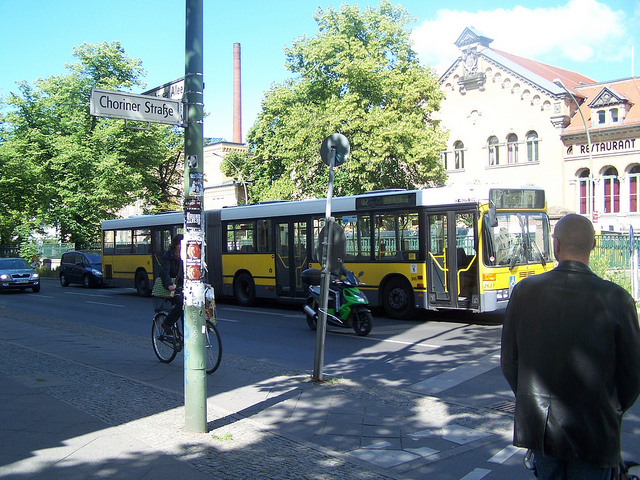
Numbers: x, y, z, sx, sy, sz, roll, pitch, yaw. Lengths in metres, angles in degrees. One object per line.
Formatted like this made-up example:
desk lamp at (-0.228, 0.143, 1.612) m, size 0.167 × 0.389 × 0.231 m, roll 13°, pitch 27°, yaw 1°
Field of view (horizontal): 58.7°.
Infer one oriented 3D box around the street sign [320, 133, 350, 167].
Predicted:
street sign at (0.253, -1.478, 9.454) m, size 0.500 × 0.532 × 0.108 m, roll 10°, pitch 10°, yaw 10°

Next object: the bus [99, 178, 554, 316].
bus at (-0.336, 0.415, 19.784) m, size 14.899 × 3.744 × 3.414 m, roll -2°, pitch 4°, yaw 39°

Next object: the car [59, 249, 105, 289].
car at (-12.898, 1.609, 31.971) m, size 2.161 × 1.927 × 3.719 m, roll 3°, pitch -5°, yaw -44°

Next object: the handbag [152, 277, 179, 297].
handbag at (-2.793, 0.832, 10.221) m, size 0.372 × 0.315 × 0.373 m, roll 3°, pitch 4°, yaw 24°

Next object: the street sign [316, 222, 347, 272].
street sign at (0.183, 0.131, 9.123) m, size 0.441 × 0.795 × 0.286 m, roll 0°, pitch 1°, yaw -3°

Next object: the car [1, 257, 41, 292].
car at (-15.095, 1.710, 28.174) m, size 1.188 × 1.079 × 2.629 m, roll 0°, pitch -3°, yaw -34°
